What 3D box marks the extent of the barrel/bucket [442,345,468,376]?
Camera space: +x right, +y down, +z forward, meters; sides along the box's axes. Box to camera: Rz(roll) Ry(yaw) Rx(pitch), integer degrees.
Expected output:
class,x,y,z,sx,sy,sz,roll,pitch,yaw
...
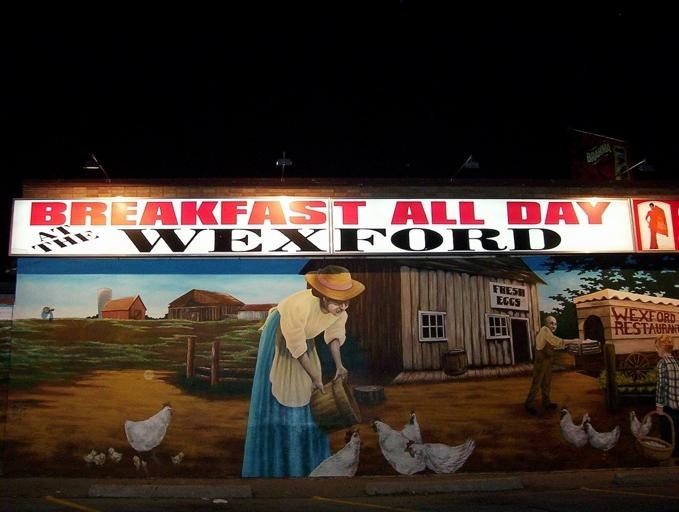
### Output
class,x,y,z,sx,sy,sz,roll,pitch,yaw
barrel/bucket,2.223,2.135,11.533,0.601,0.474,0.517,0,-5,-4

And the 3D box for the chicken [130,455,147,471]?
class,x,y,z,sx,sy,sz,roll,pitch,yaw
chicken,-3.716,3.882,10.666,0.200,0.272,0.076,-36,-3,-21

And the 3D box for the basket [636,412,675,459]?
class,x,y,z,sx,sy,sz,roll,pitch,yaw
basket,6.224,3.532,11.228,0.755,0.891,0.762,5,-4,-29

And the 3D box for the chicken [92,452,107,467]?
class,x,y,z,sx,sy,sz,roll,pitch,yaw
chicken,-4.465,3.806,10.685,0.226,0.217,0.111,-1,15,-4

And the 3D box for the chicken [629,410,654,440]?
class,x,y,z,sx,sy,sz,roll,pitch,yaw
chicken,5.936,3.363,11.283,0.544,0.555,0.430,6,-11,-28

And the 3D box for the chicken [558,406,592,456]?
class,x,y,z,sx,sy,sz,roll,pitch,yaw
chicken,4.613,3.375,11.199,0.583,0.719,0.362,3,15,11

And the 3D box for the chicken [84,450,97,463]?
class,x,y,z,sx,sy,sz,roll,pitch,yaw
chicken,-4.643,3.761,10.700,0.219,0.197,0.075,21,-8,-8

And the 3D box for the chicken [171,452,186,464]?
class,x,y,z,sx,sy,sz,roll,pitch,yaw
chicken,-3.016,3.803,10.700,0.278,0.209,0.154,6,-17,1

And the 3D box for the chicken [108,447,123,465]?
class,x,y,z,sx,sy,sz,roll,pitch,yaw
chicken,-4.202,3.741,10.689,0.282,0.245,0.118,4,15,15

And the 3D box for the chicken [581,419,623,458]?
class,x,y,z,sx,sy,sz,roll,pitch,yaw
chicken,5.149,3.633,11.298,0.778,0.597,0.399,0,4,-4
